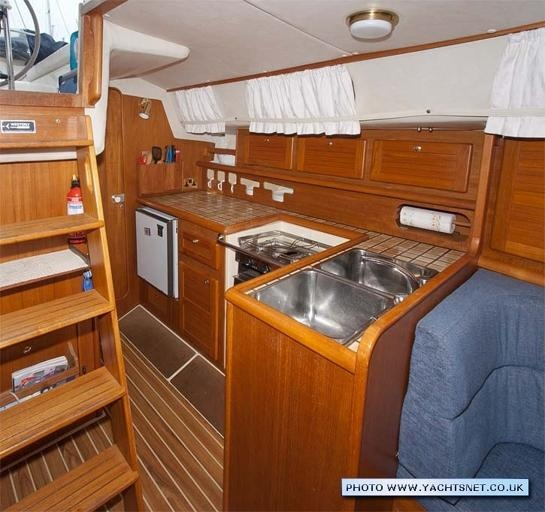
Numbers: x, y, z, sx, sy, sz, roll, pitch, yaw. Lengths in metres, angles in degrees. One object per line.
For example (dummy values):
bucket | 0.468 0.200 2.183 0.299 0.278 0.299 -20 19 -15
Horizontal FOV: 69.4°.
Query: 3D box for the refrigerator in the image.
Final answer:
refrigerator | -0.890 -0.050 3.035 0.331 0.608 0.600 -9 19 -43
